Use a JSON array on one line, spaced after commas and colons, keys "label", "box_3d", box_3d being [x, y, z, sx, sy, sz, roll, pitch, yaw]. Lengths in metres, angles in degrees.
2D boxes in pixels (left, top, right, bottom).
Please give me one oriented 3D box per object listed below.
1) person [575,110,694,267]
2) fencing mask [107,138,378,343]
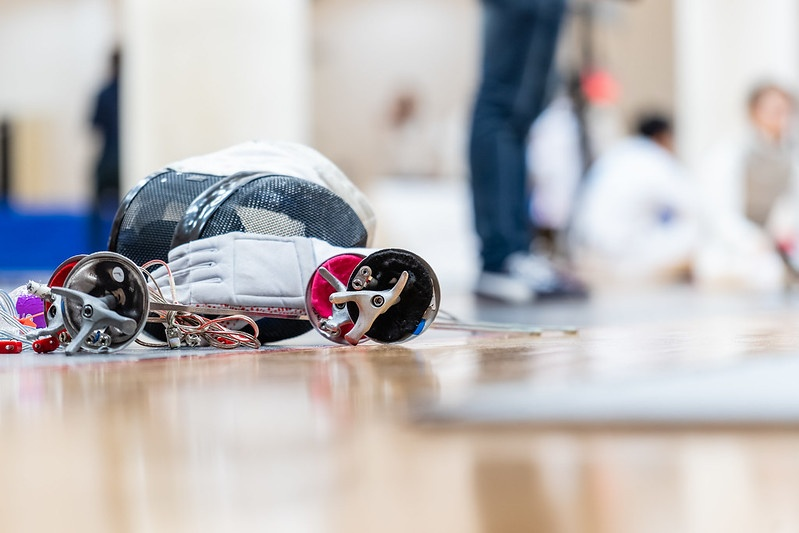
[{"label": "person", "box_3d": [0.990, -0.275, 4.382, 0.278, 0.722, 0.579, 2, 14, 39]}, {"label": "fencing mask", "box_3d": [-0.355, -0.075, 2.524, 0.569, 0.328, 0.417, -16, -13, -37]}]
